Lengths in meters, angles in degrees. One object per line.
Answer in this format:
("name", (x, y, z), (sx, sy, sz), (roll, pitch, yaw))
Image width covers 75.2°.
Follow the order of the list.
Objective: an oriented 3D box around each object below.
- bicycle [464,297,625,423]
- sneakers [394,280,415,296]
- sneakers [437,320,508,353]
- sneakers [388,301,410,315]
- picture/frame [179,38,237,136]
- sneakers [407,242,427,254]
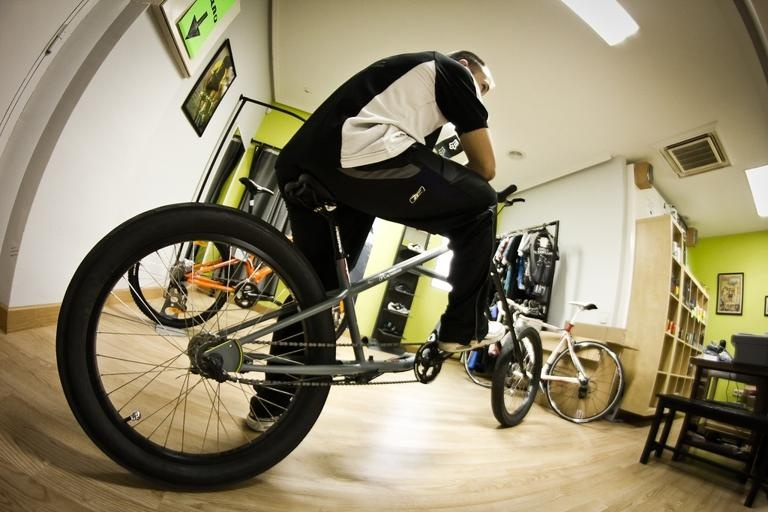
("bicycle", (1.659, 1.068, 4.904), (1.699, 1.215, 0.808), (17, -10, -9))
("sneakers", (0.302, 0.421, 6.846), (0.232, 0.225, 0.069), (14, -3, -18))
("sneakers", (0.593, 0.483, 3.305), (0.544, 0.222, 0.187), (-11, 9, -37))
("sneakers", (0.188, 0.685, 6.735), (0.342, 0.153, 0.118), (19, -7, -6))
("picture/frame", (-1.558, -1.510, 4.400), (0.034, 0.546, 0.915), (23, -40, 1))
("sneakers", (0.441, -0.094, 6.390), (0.216, 0.083, 0.117), (9, 9, -3))
